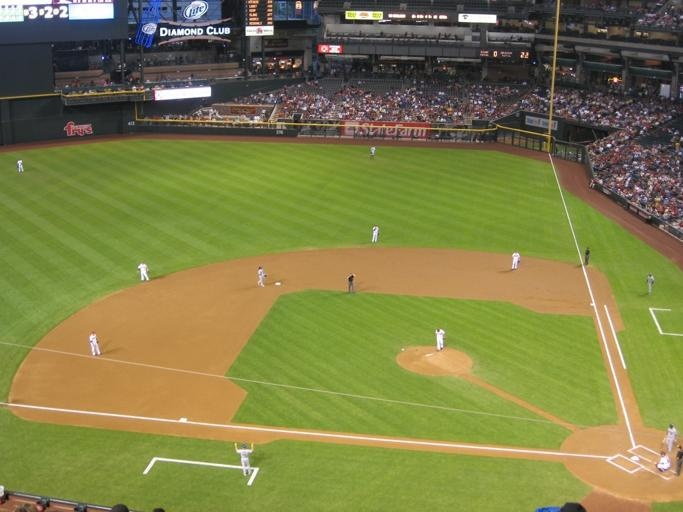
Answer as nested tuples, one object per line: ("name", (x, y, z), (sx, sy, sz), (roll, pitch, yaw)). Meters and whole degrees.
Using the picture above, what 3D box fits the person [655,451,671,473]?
("person", (18.243, 11.768, 57.865), (0.596, 1.110, 0.781), (-13, 38, 27))

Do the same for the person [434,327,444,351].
("person", (6.460, 5.378, 67.129), (0.635, 1.373, 1.482), (3, 15, 6))

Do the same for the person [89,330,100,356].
("person", (-16.182, 5.641, 66.800), (0.670, 1.420, 1.833), (-3, 16, -15))

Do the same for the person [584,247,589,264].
("person", (18.656, 0.037, 77.678), (0.421, 1.349, 1.817), (5, 15, 12))

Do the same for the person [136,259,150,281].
("person", (-14.618, 1.074, 75.129), (0.853, 1.263, 2.273), (-2, 15, -12))
